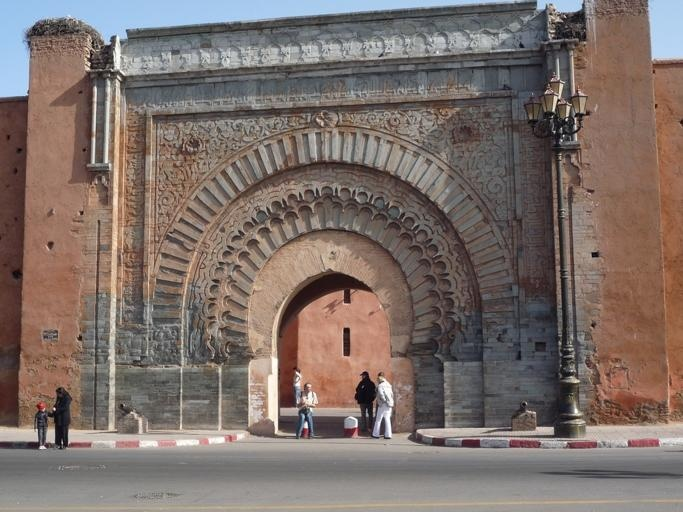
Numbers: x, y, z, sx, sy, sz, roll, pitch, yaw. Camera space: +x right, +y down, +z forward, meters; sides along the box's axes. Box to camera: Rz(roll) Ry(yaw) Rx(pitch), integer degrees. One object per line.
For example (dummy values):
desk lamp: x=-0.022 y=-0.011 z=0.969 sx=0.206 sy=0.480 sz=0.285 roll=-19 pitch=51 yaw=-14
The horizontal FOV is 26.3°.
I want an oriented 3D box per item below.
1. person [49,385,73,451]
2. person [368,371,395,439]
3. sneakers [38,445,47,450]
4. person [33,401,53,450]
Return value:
person: x=-4.918 y=2.816 z=25.523 sx=0.345 sy=1.169 sz=0.732 roll=1 pitch=-14 yaw=-11
person: x=0.743 y=2.753 z=26.822 sx=0.428 sy=1.310 sz=1.127 roll=-2 pitch=-14 yaw=1
sneakers: x=-5.141 y=3.296 z=25.079 sx=0.132 sy=0.092 sz=0.049 roll=-6 pitch=-11 yaw=27
person: x=-5.196 y=2.963 z=25.371 sx=0.236 sy=0.921 sz=1.031 roll=1 pitch=-14 yaw=-12
